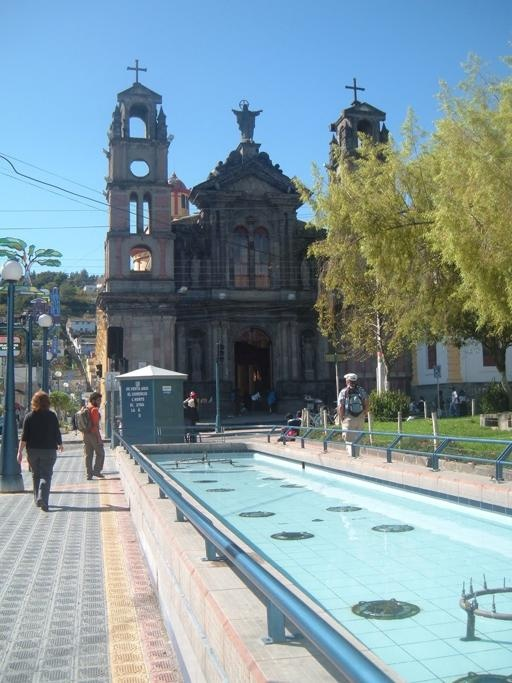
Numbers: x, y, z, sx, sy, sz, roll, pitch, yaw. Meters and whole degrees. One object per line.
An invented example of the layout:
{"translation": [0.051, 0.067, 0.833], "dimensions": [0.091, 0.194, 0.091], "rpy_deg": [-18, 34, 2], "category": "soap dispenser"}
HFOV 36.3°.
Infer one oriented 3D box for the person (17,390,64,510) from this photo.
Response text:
{"translation": [-2.898, 1.453, 10.531], "dimensions": [0.564, 1.570, 1.444], "rpy_deg": [-1, -4, -16], "category": "person"}
